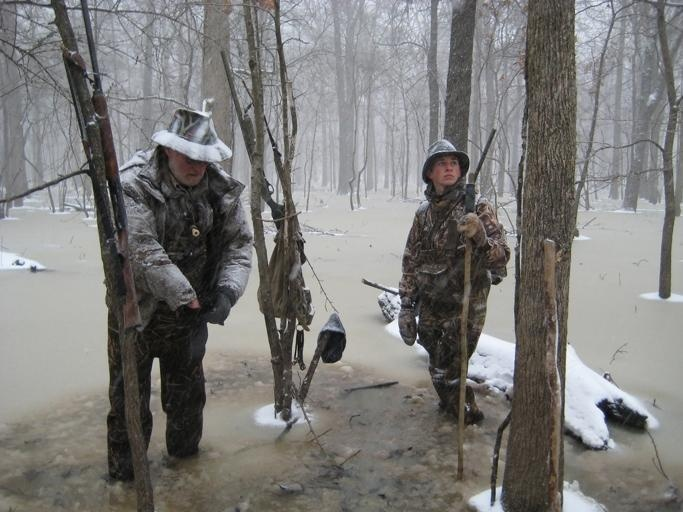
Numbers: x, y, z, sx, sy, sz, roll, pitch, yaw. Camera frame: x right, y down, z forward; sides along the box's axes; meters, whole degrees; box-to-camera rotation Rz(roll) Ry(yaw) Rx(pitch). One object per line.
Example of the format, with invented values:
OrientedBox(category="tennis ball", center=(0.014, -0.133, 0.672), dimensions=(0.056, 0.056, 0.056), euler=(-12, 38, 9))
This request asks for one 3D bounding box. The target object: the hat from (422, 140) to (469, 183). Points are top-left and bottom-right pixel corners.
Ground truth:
OrientedBox(category="hat", center=(1.074, -1.144, 7.658), dimensions=(0.389, 0.283, 0.516), euler=(-3, -30, -8))

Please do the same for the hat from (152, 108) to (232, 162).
OrientedBox(category="hat", center=(-1.404, -1.103, 6.404), dimensions=(0.532, 0.359, 0.524), euler=(16, 6, 39))

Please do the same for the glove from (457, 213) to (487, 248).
OrientedBox(category="glove", center=(1.282, -0.253, 6.915), dimensions=(0.215, 0.376, 0.582), euler=(4, 11, 27))

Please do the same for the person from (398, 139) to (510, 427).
OrientedBox(category="person", center=(1.195, 0.280, 7.595), dimensions=(0.853, 3.067, 1.221), euler=(-10, 13, -43))

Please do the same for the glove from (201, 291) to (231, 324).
OrientedBox(category="glove", center=(-1.168, 0.517, 6.456), dimensions=(0.200, 0.324, 0.270), euler=(12, -20, -14))
